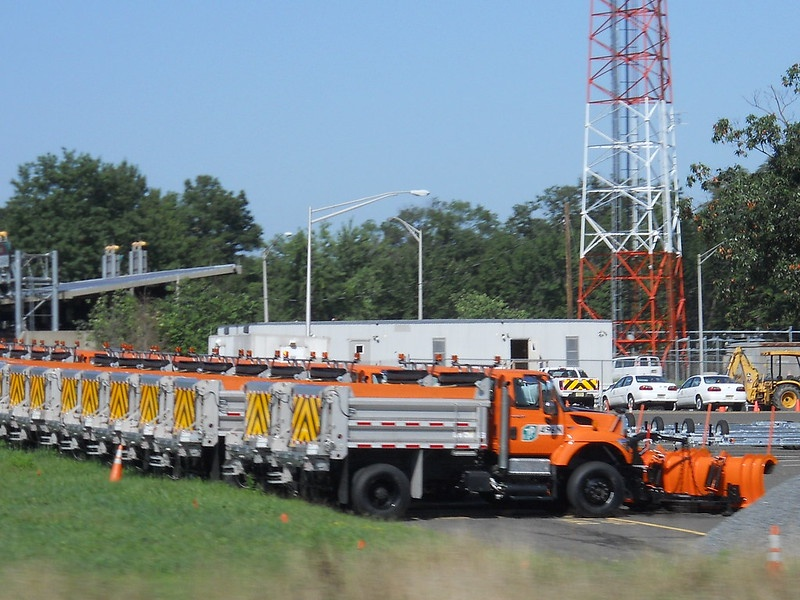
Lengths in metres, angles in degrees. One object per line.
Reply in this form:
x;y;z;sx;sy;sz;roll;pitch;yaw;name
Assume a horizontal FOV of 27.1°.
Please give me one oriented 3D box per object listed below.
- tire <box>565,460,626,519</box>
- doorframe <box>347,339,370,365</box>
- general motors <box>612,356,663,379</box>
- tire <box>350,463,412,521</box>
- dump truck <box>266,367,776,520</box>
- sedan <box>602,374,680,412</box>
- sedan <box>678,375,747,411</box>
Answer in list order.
4.602;4.403;39.090;1.951;1.367;0.579;-1;1;-8;tire
-1.651;2.059;68.457;0.944;1.124;1.427;-1;1;-9;doorframe
10.075;2.781;69.822;1.145;0.711;1.819;-1;4;-23;general motors
-0.509;4.402;38.012;1.692;1.230;0.551;4;-9;-27;tire
2.116;3.391;39.537;9.643;2.075;4.615;-1;2;-16;dump truck
9.482;3.665;65.357;1.748;0.883;3.246;1;0;-22;sedan
12.023;3.633;65.015;1.997;0.997;3.665;0;0;-14;sedan
